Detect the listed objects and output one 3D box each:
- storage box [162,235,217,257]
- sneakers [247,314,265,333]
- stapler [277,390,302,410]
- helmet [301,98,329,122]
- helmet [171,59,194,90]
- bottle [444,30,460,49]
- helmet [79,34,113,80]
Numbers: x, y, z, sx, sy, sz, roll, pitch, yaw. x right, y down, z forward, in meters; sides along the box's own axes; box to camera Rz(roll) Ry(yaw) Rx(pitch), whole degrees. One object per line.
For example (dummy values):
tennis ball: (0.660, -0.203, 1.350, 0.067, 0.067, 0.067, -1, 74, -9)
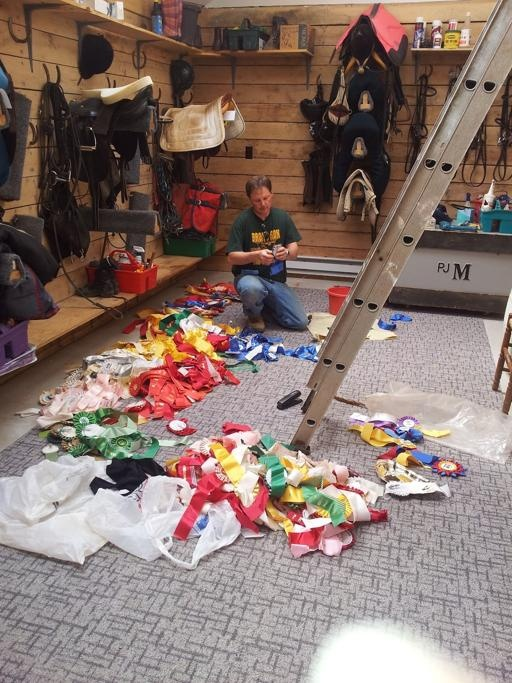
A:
storage box: (-0.631, -0.910, 4.760, 0.479, 0.228, 0.231, -1, 27, -8)
sneakers: (-0.001, -0.131, 3.669, 0.087, 0.101, 0.133, -26, 67, -20)
stapler: (0.167, 0.294, 2.613, 0.055, 0.061, 0.172, 41, 42, 20)
helmet: (0.535, -2.118, 4.712, 0.200, 0.219, 0.251, 0, 60, 3)
helmet: (-0.684, -2.457, 4.790, 0.207, 0.257, 0.267, -2, -8, -6)
bottle: (1.618, -2.490, 4.223, 0.110, 0.190, 0.113, 5, 28, -3)
helmet: (-1.042, -1.862, 3.342, 0.158, 0.278, 0.289, 6, 27, 5)
